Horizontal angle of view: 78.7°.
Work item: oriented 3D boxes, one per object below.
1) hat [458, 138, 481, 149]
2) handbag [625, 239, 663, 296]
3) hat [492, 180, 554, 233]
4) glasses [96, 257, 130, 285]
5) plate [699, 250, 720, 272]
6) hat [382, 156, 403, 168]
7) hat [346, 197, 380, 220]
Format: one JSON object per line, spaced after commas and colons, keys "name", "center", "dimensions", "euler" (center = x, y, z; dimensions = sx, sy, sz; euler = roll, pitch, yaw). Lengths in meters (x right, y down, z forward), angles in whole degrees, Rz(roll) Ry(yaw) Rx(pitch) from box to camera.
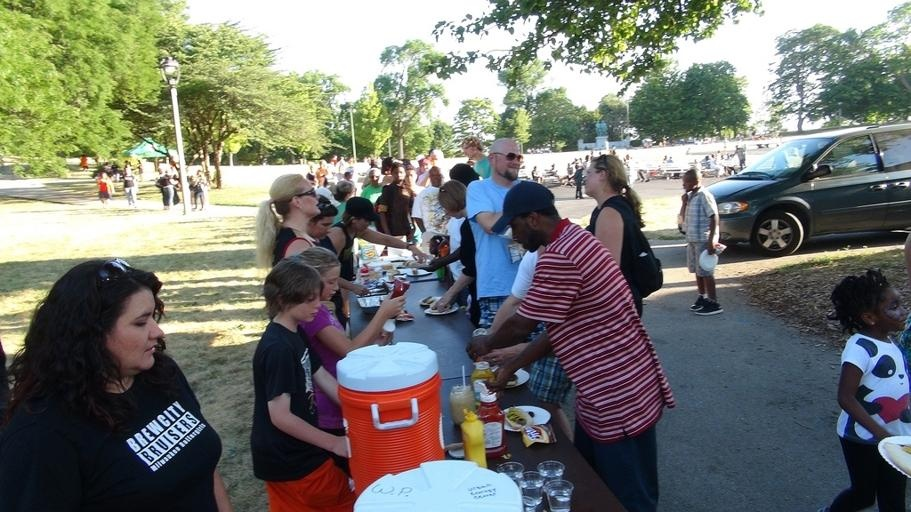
{"name": "hat", "center": [0.295, -2.083, 10.193], "dimensions": [0.274, 0.271, 0.310], "euler": [-3, 16, 0]}
{"name": "handbag", "center": [1.883, 0.142, 5.530], "dimensions": [0.266, 0.632, 0.515], "euler": [5, 13, 36]}
{"name": "hat", "center": [0.522, -0.411, 4.513], "dimensions": [0.475, 0.249, 0.309], "euler": [-20, 11, 18]}
{"name": "glasses", "center": [-2.264, 0.087, 3.681], "dimensions": [0.049, 0.155, 0.162], "euler": [36, 12, 8]}
{"name": "plate", "center": [3.845, 0.087, 8.502], "dimensions": [0.352, 0.285, 0.085], "euler": [-20, -4, 1]}
{"name": "hat", "center": [-1.332, -1.983, 11.556], "dimensions": [0.447, 0.280, 0.520], "euler": [-3, -4, -4]}
{"name": "hat", "center": [-1.145, -0.602, 7.087], "dimensions": [0.394, 0.192, 0.276], "euler": [-11, 27, -44]}
